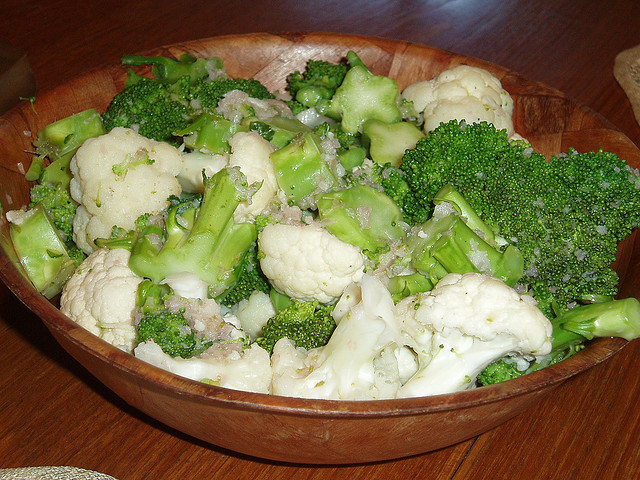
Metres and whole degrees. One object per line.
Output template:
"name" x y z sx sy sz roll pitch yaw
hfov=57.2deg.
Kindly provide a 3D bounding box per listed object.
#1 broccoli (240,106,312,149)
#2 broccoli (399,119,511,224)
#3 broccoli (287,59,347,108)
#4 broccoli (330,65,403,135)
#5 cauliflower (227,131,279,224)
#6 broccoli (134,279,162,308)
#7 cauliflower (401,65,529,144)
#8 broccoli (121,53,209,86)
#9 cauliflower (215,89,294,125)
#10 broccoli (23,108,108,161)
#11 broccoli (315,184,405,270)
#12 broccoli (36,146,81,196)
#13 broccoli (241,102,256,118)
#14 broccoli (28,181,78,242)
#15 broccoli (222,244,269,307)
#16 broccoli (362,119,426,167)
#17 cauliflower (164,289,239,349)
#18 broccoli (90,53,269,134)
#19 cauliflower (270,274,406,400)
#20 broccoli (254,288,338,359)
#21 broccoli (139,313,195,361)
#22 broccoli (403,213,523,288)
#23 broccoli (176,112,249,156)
"broccoli" -0.166 -0.384 2.088 0.273 0.268 0.075 0 93 24
"broccoli" 0.425 -0.247 1.866 0.310 0.126 0.341 1 82 21
"broccoli" -0.028 -0.572 2.251 0.177 0.209 0.101 -32 81 -3
"broccoli" 0.129 -0.488 2.171 0.320 0.375 0.095 -8 69 6
"cauliflower" -0.205 -0.189 1.863 0.091 0.194 0.261 7 83 -24
"broccoli" -0.494 0.156 1.694 0.075 0.030 0.076 20 72 -35
"cauliflower" 0.498 -0.505 2.060 0.302 0.110 0.384 -19 56 4
"broccoli" -0.557 -0.612 2.165 0.308 0.080 0.124 5 64 -4
"cauliflower" -0.223 -0.461 2.043 0.192 0.058 0.152 8 20 -33
"broccoli" -0.838 -0.349 1.933 0.239 0.131 0.063 -32 29 -25
"broccoli" 0.117 -0.036 1.888 0.225 0.068 0.287 -37 101 -25
"broccoli" -0.857 -0.261 1.976 0.132 0.229 0.042 44 70 -30
"broccoli" -0.248 -0.442 2.011 0.049 0.018 0.049 -30 68 -35
"broccoli" -0.876 -0.091 1.929 0.127 0.115 0.058 8 73 -8
"broccoli" -0.231 0.123 1.913 0.101 0.150 0.185 18 80 -12
"broccoli" 0.264 -0.353 2.077 0.224 0.286 0.113 -3 70 1
"cauliflower" -0.344 0.242 1.778 0.182 0.227 0.061 28 84 -11
"broccoli" -0.500 -0.509 2.063 0.428 0.143 0.367 -11 40 -35
"cauliflower" 0.067 0.260 1.722 0.277 0.163 0.368 8 85 -5
"broccoli" -0.047 0.239 1.786 0.189 0.081 0.189 -31 46 -30
"broccoli" -0.435 0.267 1.659 0.154 0.091 0.119 3 55 -3
"broccoli" 0.436 0.031 1.805 0.275 0.143 0.228 13 92 -2
"broccoli" -0.349 -0.349 1.920 0.185 0.060 0.144 23 87 -3
